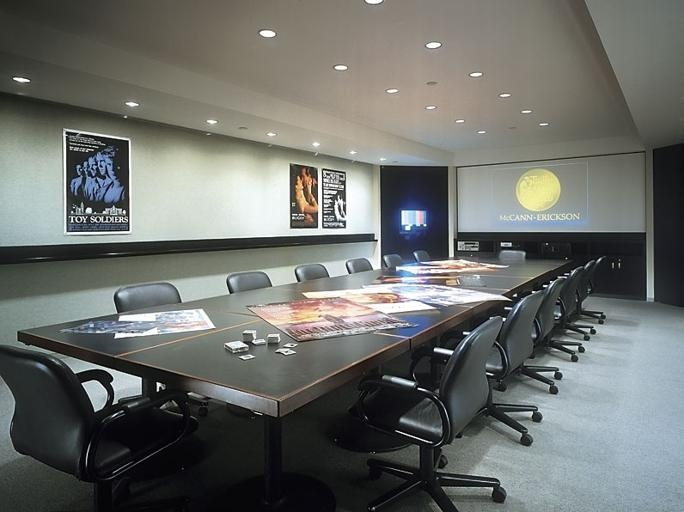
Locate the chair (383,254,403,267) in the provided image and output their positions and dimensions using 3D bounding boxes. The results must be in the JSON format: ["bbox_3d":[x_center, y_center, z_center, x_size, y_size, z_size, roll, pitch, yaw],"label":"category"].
[{"bbox_3d":[0.738,0.063,6.482,0.215,0.256,0.215,-3,4,-36],"label":"chair"}]

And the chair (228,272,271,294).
[{"bbox_3d":[-0.945,0.258,4.429,0.258,0.362,0.295,-3,0,-40],"label":"chair"}]

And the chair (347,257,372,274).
[{"bbox_3d":[0.177,0.124,5.901,0.221,0.311,0.248,-2,0,-42],"label":"chair"}]

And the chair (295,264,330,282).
[{"bbox_3d":[-0.346,0.190,5.136,0.240,0.327,0.266,-2,-1,-38],"label":"chair"}]
